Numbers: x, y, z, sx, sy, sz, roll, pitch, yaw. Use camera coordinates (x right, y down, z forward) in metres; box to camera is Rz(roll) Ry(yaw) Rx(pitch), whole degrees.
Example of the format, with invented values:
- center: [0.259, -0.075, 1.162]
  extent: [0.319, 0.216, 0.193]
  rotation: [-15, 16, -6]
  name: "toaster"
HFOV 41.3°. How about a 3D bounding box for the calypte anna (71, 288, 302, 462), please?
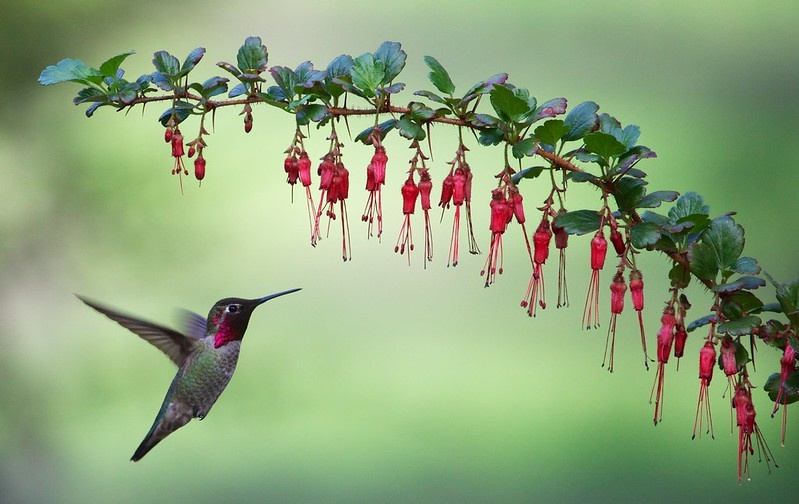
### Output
- center: [-0.625, 0.314, 3.186]
  extent: [0.456, 0.286, 0.566]
  rotation: [-25, -8, 20]
  name: "calypte anna"
